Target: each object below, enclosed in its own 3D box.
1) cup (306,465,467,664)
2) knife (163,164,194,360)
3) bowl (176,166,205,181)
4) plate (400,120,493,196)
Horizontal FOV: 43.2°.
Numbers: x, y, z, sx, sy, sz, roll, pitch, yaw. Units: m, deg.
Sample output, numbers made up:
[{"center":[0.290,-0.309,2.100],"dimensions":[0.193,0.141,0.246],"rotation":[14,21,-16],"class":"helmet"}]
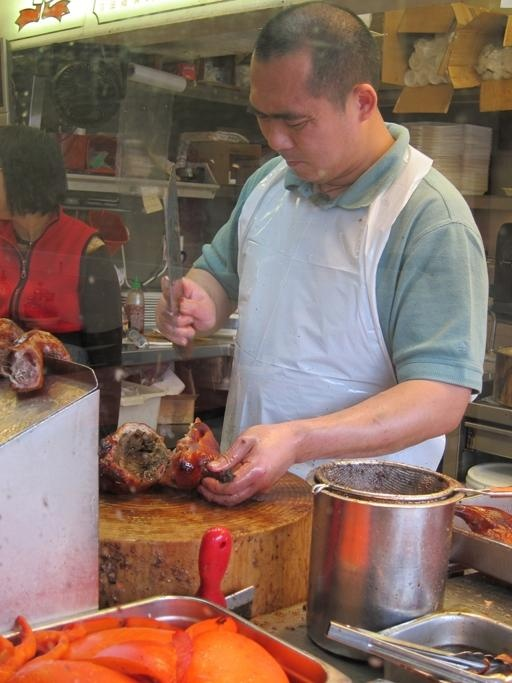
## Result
[{"center":[0.114,0.223,0.755],"dimensions":[0.224,0.170,0.186],"rotation":[1,4,-41],"class":"cup"},{"center":[-0.154,-0.138,1.180],"dimensions":[0.014,0.301,0.073],"rotation":[-1,2,26],"class":"knife"},{"center":[-0.147,-0.388,1.496],"dimensions":[0.073,0.039,0.035],"rotation":[0,2,-14],"class":"bowl"},{"center":[0.358,-0.321,1.134],"dimensions":[0.089,0.121,0.178],"rotation":[1,8,-22],"class":"plate"}]
